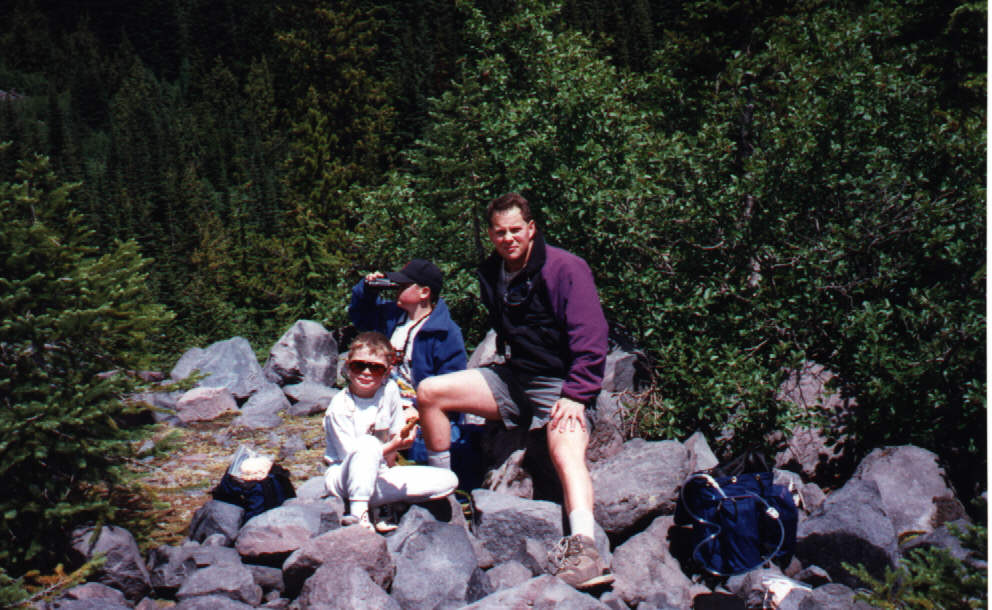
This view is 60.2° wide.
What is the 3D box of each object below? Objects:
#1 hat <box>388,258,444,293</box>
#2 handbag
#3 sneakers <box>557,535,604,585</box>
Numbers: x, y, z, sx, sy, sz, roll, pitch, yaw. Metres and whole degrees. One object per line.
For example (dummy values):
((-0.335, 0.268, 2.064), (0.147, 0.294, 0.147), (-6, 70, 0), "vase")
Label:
((-0.690, -0.254, 7.479), (0.390, 0.235, 0.279), (19, 2, -10), "hat")
((1.808, 1.622, 6.404), (0.860, 0.713, 0.401), (9, 11, 14), "handbag")
((0.598, 1.791, 5.975), (0.223, 0.274, 0.401), (-7, -25, 11), "sneakers")
